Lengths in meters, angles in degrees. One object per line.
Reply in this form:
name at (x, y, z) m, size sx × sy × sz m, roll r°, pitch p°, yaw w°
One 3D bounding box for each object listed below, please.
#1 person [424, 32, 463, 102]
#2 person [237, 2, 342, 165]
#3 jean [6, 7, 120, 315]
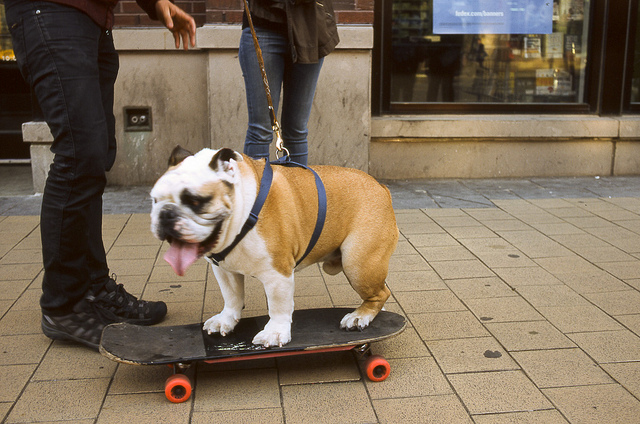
person at (1.655, -1.928, 7.960) m, size 0.493 × 0.860 × 0.183 m, roll -2°, pitch 16°, yaw 1°
person at (-0.223, -1.003, 4.716) m, size 0.753 × 1.225 × 1.964 m, roll -1°, pitch 16°, yaw 4°
jean at (-1.648, -0.339, 4.012) m, size 0.701 × 1.957 × 0.465 m, roll -10°, pitch 18°, yaw -25°
